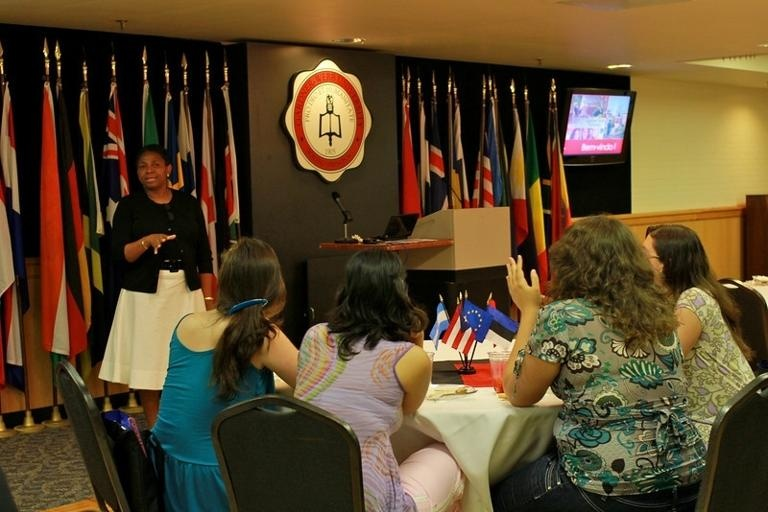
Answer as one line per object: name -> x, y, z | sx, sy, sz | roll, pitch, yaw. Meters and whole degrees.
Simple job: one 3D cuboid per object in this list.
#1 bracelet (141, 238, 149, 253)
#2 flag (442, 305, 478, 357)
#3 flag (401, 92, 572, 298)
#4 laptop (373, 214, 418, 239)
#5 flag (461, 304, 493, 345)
bracelet -> -1.682, -0.071, 4.525 | 0.027, 0.076, 0.060 | -23, 1, 4
flag -> 0.385, 0.382, 3.219 | 0.028, 0.227, 0.188 | -15, 41, -39
flag -> 0.927, -0.602, 6.219 | 2.057, 2.622, 0.348 | -2, 4, -25
laptop -> 0.094, -0.235, 5.205 | 0.237, 0.161, 0.226 | -2, 5, -39
flag -> 0.450, 0.334, 3.129 | 0.159, 0.161, 0.021 | 18, 22, 28
